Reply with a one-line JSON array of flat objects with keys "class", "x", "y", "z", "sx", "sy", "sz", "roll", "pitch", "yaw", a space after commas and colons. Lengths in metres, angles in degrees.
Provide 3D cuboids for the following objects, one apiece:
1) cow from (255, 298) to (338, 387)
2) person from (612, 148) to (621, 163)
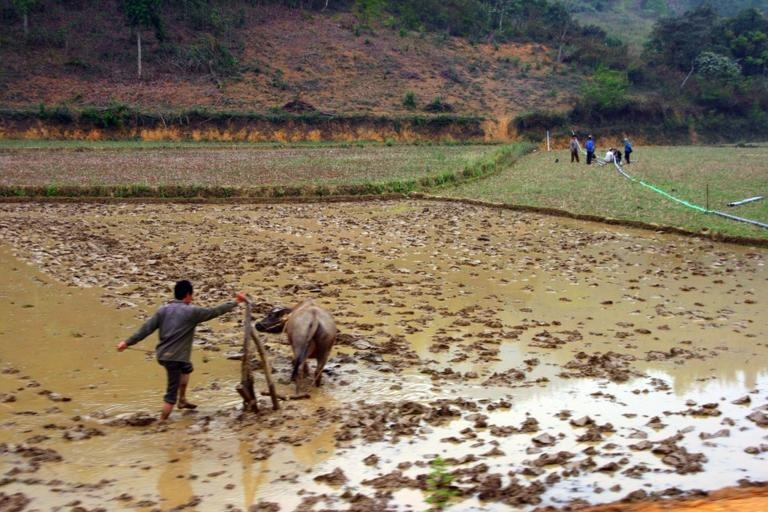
[{"class": "cow", "x": -2.752, "y": 2.297, "z": 24.826, "sx": 1.350, "sy": 2.207, "sz": 3.517, "roll": -5, "pitch": 12, "yaw": -27}, {"class": "person", "x": 14.629, "y": -6.283, "z": 53.550, "sx": 0.503, "sy": 1.132, "sz": 0.318, "roll": 6, "pitch": 60, "yaw": 31}]
